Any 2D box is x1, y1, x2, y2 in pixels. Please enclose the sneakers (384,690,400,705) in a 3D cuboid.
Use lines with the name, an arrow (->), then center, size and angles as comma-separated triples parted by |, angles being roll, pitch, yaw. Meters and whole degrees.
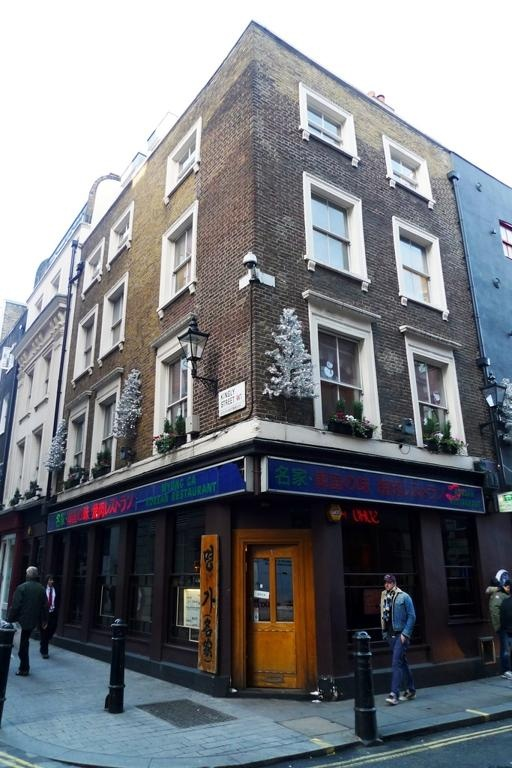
sneakers -> 1.779, 4.087, 6.907 | 0.103, 0.135, 0.291 | 0, -31, 8

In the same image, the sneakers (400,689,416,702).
sneakers -> 2.015, 4.214, 7.222 | 0.342, 0.161, 0.118 | 19, -35, -27

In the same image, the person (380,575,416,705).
person -> 1.908, 3.403, 7.148 | 0.464, 1.581, 0.746 | -6, -21, 11

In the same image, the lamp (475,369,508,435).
lamp -> 5.153, 0.312, 11.511 | 0.702, 1.385, 1.193 | -11, -22, 22

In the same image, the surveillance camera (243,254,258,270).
surveillance camera -> -0.104, -1.931, 8.316 | 0.228, 0.256, 0.230 | 8, -16, -27

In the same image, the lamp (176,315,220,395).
lamp -> -1.023, -0.586, 9.013 | 0.648, 1.580, 0.973 | 7, -22, -23

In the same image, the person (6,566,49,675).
person -> -3.905, 4.004, 8.973 | 0.461, 1.739, 1.197 | 4, -21, -16
